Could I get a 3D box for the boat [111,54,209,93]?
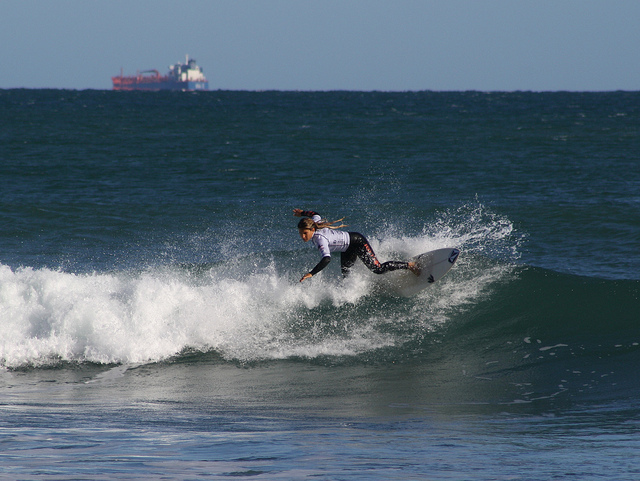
[{"bbox_3d":[-25.215,-25.531,211.564,15.746,5.184,4.186,3,10,31],"label":"boat"}]
